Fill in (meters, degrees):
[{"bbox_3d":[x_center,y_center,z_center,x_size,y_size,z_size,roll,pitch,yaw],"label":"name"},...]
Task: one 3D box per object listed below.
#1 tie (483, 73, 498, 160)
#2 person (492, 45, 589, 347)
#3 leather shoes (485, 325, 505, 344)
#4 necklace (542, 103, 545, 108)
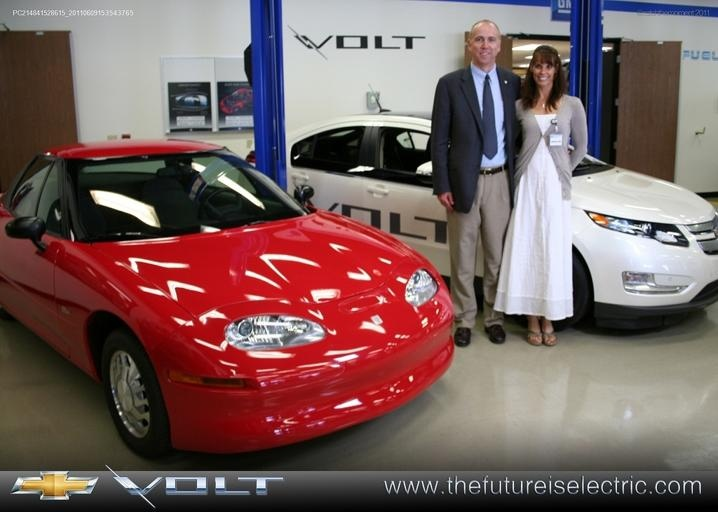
[{"bbox_3d":[0.857,-0.920,3.192,0.100,0.522,0.162,1,17,16],"label":"tie"},{"bbox_3d":[1.216,-0.369,3.281,0.534,1.982,0.520,3,17,24],"label":"person"},{"bbox_3d":[0.968,0.565,3.496,0.069,0.086,0.193,-3,10,-9],"label":"leather shoes"},{"bbox_3d":[1.216,-1.005,3.221,0.032,0.034,0.008,3,1,30],"label":"necklace"}]
